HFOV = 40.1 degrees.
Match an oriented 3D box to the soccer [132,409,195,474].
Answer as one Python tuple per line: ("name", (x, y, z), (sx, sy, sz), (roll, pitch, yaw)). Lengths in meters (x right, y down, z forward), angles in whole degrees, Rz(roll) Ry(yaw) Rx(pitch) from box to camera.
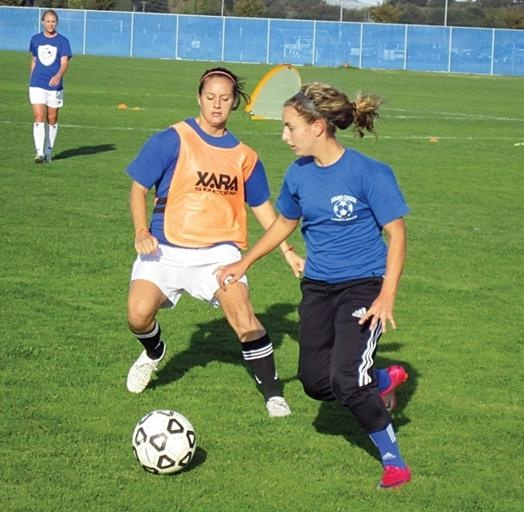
("soccer", (-0.525, 1.004, 3.869), (0.331, 0.279, 0.234), (0, 13, -12))

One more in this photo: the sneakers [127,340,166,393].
("sneakers", (-0.753, 0.754, 4.702), (0.153, 0.416, 0.163), (30, -8, 1))

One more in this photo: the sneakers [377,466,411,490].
("sneakers", (0.681, 1.133, 3.725), (0.073, 0.084, 0.189), (2, 4, 45))

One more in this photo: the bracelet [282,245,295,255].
("bracelet", (0.171, -0.041, 4.702), (0.055, 0.019, 0.045), (-26, 15, 16))

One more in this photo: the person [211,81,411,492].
("person", (0.441, 0.068, 4.049), (0.536, 2.019, 1.236), (-7, 15, -37))
